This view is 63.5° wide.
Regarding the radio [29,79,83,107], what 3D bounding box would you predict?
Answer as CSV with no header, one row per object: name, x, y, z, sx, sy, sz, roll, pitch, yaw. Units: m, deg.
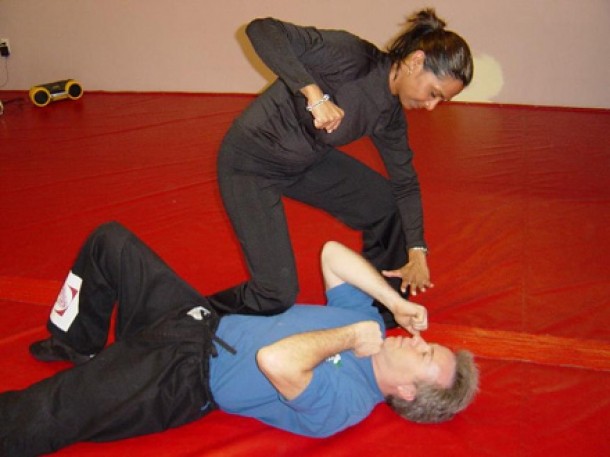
radio,-2.354,-1.296,4.689,0.465,0.193,0.232,-20,29,-35
